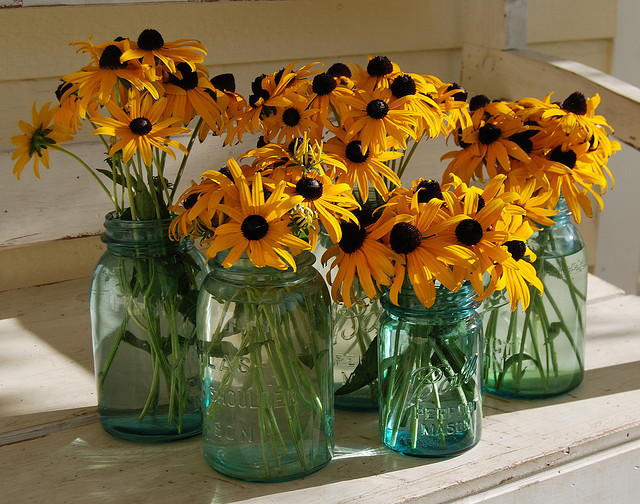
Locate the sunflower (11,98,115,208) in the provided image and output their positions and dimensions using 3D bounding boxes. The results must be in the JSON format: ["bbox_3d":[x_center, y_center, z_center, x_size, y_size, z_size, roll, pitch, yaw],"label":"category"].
[{"bbox_3d":[-0.352,-0.132,0.830,0.092,0.089,0.154,-1,-12,13],"label":"sunflower"}]

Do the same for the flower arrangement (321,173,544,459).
[{"bbox_3d":[0.160,0.078,0.822,0.250,0.364,0.271,-9,6,-41],"label":"flower arrangement"}]

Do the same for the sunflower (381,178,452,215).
[{"bbox_3d":[0.124,-0.076,0.735,0.055,0.028,0.058,-10,15,29],"label":"sunflower"}]

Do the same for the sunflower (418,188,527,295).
[{"bbox_3d":[0.177,-0.016,0.703,0.141,0.049,0.138,21,-30,-30],"label":"sunflower"}]

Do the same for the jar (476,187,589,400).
[{"bbox_3d":[0.333,0.044,0.979,0.176,0.311,0.175,1,16,0],"label":"jar"}]

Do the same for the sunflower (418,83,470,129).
[{"bbox_3d":[0.170,-0.208,0.824,0.060,0.066,0.024,21,-25,16],"label":"sunflower"}]

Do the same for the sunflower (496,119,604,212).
[{"bbox_3d":[0.310,-0.130,0.831,0.130,0.133,0.057,23,-14,-21],"label":"sunflower"}]

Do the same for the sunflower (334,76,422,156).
[{"bbox_3d":[0.071,-0.171,0.782,0.106,0.082,0.075,11,19,35],"label":"sunflower"}]

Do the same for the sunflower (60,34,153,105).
[{"bbox_3d":[-0.260,-0.231,0.762,0.139,0.069,0.133,-3,10,-25],"label":"sunflower"}]

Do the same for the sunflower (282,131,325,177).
[{"bbox_3d":[-0.017,-0.112,0.709,0.047,0.031,0.047,10,44,13],"label":"sunflower"}]

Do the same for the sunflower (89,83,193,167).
[{"bbox_3d":[-0.217,-0.146,0.723,0.107,0.017,0.115,-4,49,-25],"label":"sunflower"}]

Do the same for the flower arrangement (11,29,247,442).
[{"bbox_3d":[-0.214,-0.008,0.843,0.296,0.565,0.311,24,27,30],"label":"flower arrangement"}]

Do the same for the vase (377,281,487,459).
[{"bbox_3d":[0.150,0.157,0.801,0.141,0.260,0.067,3,16,12],"label":"vase"}]

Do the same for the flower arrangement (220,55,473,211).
[{"bbox_3d":[0.027,-0.189,0.805,0.258,0.210,0.258,-12,30,-21],"label":"flower arrangement"}]

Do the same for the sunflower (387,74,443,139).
[{"bbox_3d":[0.125,-0.193,0.778,0.075,0.057,0.078,1,52,2],"label":"sunflower"}]

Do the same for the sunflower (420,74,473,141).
[{"bbox_3d":[0.163,-0.205,0.846,0.028,0.068,0.061,24,-11,5],"label":"sunflower"}]

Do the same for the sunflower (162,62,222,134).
[{"bbox_3d":[-0.165,-0.196,0.777,0.081,0.082,0.047,-30,-13,-25],"label":"sunflower"}]

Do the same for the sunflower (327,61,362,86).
[{"bbox_3d":[0.039,-0.257,0.857,0.042,0.015,0.042,12,29,-25],"label":"sunflower"}]

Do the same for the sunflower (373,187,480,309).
[{"bbox_3d":[0.126,0.009,0.692,0.122,0.127,0.053,-15,-15,14],"label":"sunflower"}]

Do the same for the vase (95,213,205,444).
[{"bbox_3d":[-0.257,0.116,0.848,0.175,0.338,0.069,2,16,11],"label":"vase"}]

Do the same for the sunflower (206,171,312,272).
[{"bbox_3d":[-0.071,-0.027,0.668,0.134,0.135,0.021,-7,16,27],"label":"sunflower"}]
